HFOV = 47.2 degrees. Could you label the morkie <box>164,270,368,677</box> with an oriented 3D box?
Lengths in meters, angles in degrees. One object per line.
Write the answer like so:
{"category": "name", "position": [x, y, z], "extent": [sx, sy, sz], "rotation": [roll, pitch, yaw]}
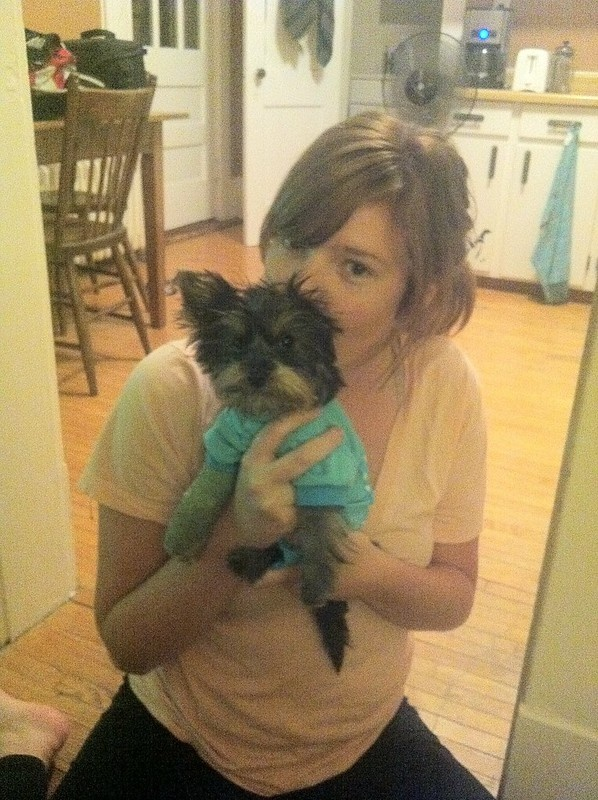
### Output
{"category": "morkie", "position": [-0.028, 0.055, 0.582], "extent": [0.187, 0.328, 0.065], "rotation": [6, 29, 5]}

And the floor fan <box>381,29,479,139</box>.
{"category": "floor fan", "position": [0.088, -0.225, 0.484], "extent": [0.059, 0.063, 0.029], "rotation": [8, 29, 9]}
